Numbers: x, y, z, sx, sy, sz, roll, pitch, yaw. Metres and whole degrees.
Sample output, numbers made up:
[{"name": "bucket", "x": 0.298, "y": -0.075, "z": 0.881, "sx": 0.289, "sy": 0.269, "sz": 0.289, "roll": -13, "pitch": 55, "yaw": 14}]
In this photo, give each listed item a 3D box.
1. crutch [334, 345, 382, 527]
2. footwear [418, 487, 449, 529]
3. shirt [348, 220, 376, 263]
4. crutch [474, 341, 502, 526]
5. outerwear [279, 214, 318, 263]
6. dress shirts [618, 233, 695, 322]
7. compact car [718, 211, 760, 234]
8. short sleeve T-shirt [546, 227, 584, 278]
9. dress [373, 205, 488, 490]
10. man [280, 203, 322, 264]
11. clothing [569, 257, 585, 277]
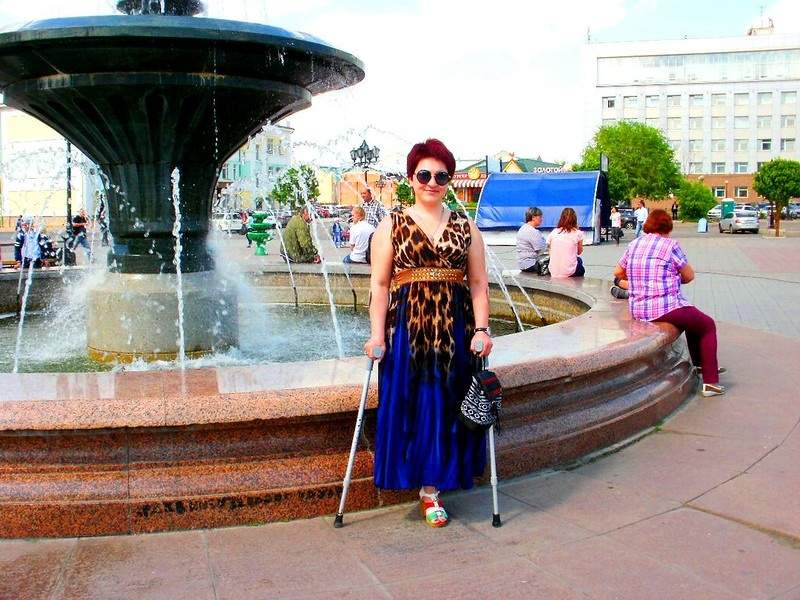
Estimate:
[{"name": "crutch", "x": -0.249, "y": 0.758, "z": 3.889, "sx": 0.278, "sy": 1.057, "sz": 0.358, "roll": 0, "pitch": 11, "yaw": -4}, {"name": "footwear", "x": 0.189, "y": 1.211, "z": 3.920, "sx": 0.115, "sy": 0.141, "sz": 0.320, "roll": 7, "pitch": 14, "yaw": -22}, {"name": "shirt", "x": -0.851, "y": -1.151, "z": 13.538, "sx": 0.601, "sy": 0.830, "sz": 0.503, "roll": 1, "pitch": 9, "yaw": -35}, {"name": "crutch", "x": 0.527, "y": 0.802, "z": 3.776, "sx": 0.118, "sy": 1.294, "sz": 0.108, "roll": -1, "pitch": 25, "yaw": 17}, {"name": "outerwear", "x": -2.034, "y": -1.184, "z": 13.626, "sx": 0.753, "sy": 1.026, "sz": 1.185, "roll": -6, "pitch": 14, "yaw": -27}, {"name": "dress shirts", "x": 2.596, "y": -0.269, "z": 6.615, "sx": 0.872, "sy": 0.984, "sz": 0.758, "roll": 3, "pitch": 7, "yaw": 40}, {"name": "compact car", "x": 21.838, "y": -4.977, "z": 42.649, "sx": 1.505, "sy": 1.201, "sz": 3.603, "roll": 0, "pitch": 10, "yaw": 9}, {"name": "short sleeve T-shirt", "x": 2.720, "y": -0.751, "z": 10.766, "sx": 0.617, "sy": 0.815, "sz": 0.628, "roll": -1, "pitch": 5, "yaw": -26}, {"name": "dress", "x": 0.179, "y": 0.300, "z": 3.885, "sx": 0.642, "sy": 1.599, "sz": 0.368, "roll": 0, "pitch": 11, "yaw": -2}, {"name": "man", "x": -1.955, "y": -1.385, "z": 13.954, "sx": 1.012, "sy": 1.566, "sz": 1.391, "roll": -2, "pitch": 8, "yaw": -17}, {"name": "clothing", "x": 2.892, "y": -0.504, "z": 10.732, "sx": 0.253, "sy": 0.454, "sz": 0.185, "roll": 1, "pitch": -1, "yaw": 13}]
